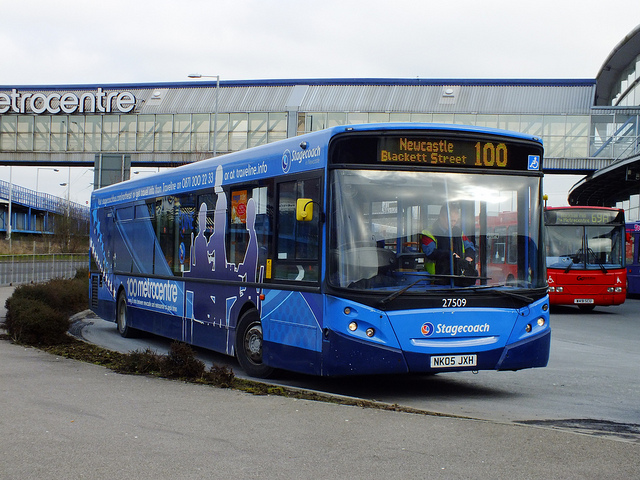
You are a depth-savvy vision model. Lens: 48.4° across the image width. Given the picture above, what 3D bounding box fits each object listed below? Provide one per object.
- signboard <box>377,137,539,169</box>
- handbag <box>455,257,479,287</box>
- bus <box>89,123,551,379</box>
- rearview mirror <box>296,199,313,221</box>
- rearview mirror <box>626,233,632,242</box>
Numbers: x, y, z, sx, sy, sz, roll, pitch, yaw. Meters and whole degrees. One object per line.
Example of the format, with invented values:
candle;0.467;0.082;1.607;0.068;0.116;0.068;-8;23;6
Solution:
signboard;1.861;-1.237;10.064;2.198;0.385;0.068;1;0;-13
handbag;2.028;0.448;9.953;0.243;0.418;0.129;-2;0;2
bus;-1.397;0.370;14.978;4.018;4.144;11.845;3;-3;-36
rearview mirror;-0.224;-0.412;9.862;0.230;0.383;0.111;1;-4;2
rearview mirror;13.038;-0.132;30.158;0.343;0.549;0.049;1;-1;-37
